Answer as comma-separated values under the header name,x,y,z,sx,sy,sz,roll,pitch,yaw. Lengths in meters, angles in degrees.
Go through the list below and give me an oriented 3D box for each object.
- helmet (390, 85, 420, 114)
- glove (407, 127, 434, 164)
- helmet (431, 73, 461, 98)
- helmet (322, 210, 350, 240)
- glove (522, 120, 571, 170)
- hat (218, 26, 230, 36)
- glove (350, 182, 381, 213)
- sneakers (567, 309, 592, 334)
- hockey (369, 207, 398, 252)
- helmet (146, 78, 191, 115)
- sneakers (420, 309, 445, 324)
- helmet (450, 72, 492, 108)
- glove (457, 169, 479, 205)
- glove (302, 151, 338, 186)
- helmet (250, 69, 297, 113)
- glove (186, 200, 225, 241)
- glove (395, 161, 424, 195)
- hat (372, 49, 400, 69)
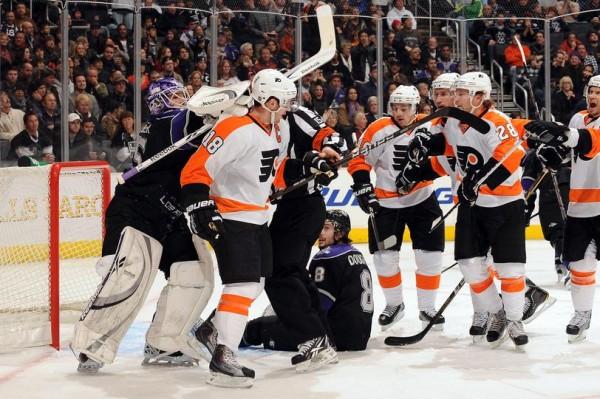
name,x,y,z,sx,sy,sz,roll,pitch,yaw
helmet,0.898,-0.876,6.308,0.211,0.224,0.257,4,14,33
glove,0.972,-0.443,5.802,0.206,0.260,0.127,-7,-27,45
helmet,1.218,-0.962,6.031,0.272,0.219,0.213,2,0,-3
helmet,0.294,0.201,5.746,0.186,0.228,0.181,0,9,1
glove,1.856,-0.409,5.478,0.319,0.183,0.400,22,-36,6
hat,-0.916,-2.069,8.934,0.127,0.120,0.095,-16,33,26
glove,0.528,-0.013,6.003,0.170,0.268,0.117,-32,-16,35
sneakers,2.207,0.963,5.756,0.144,0.169,0.310,7,11,40
hockey,0.685,0.261,6.158,0.092,0.282,0.309,7,-15,-35
helmet,-0.929,-0.738,5.315,0.330,0.229,0.247,-12,3,14
sneakers,1.108,0.982,6.107,0.099,0.101,0.277,-8,-3,-21
helmet,1.317,-0.859,5.576,0.276,0.180,0.198,-11,14,4
glove,1.254,-0.080,5.440,0.062,0.227,0.150,-1,17,-41
glove,0.132,-0.225,5.115,0.196,0.120,0.265,45,-9,-31
helmet,-0.191,-0.763,4.970,0.309,0.235,0.256,-9,27,-6
glove,-0.598,0.123,4.697,0.228,0.253,0.115,-15,11,14
glove,0.911,-0.181,6.144,0.108,0.207,0.258,27,-57,-39
hat,1.106,-1.804,9.393,0.334,0.151,0.191,-23,11,5
